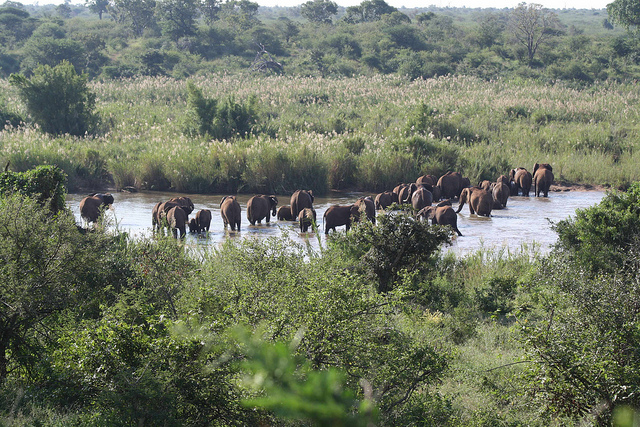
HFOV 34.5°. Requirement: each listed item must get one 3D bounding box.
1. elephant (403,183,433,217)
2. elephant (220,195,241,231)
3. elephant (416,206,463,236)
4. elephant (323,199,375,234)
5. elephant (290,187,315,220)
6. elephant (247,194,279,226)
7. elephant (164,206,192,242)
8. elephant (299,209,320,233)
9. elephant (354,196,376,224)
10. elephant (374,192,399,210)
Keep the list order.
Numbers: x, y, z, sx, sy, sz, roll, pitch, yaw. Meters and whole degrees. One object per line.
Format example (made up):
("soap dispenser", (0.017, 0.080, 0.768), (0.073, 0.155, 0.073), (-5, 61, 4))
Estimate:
("elephant", (4.477, -0.751, 46.663), (0.831, 1.153, 1.892), (1, 13, 1))
("elephant", (-3.854, 0.006, 44.896), (0.967, 1.291, 0.615), (12, 19, 40))
("elephant", (5.133, 0.294, 44.748), (2.236, 1.385, 1.085), (7, 20, 43))
("elephant", (1.319, 0.074, 43.849), (2.235, 1.431, 1.123), (-5, -1, -4))
("elephant", (-0.730, -0.701, 46.371), (0.615, 0.978, 1.712), (2, 15, 12))
("elephant", (-2.557, -0.189, 45.729), (1.385, 1.222, 0.590), (-13, 19, -40))
("elephant", (-6.038, 0.306, 44.088), (1.153, 1.338, 2.781), (-2, 15, -7))
("elephant", (-0.542, 0.311, 44.491), (0.675, 1.030, 0.755), (-1, 14, -4))
("elephant", (1.961, -0.351, 44.623), (0.543, 0.754, 1.250), (-2, 15, -8))
("elephant", (3.097, -0.622, 46.082), (0.514, 0.876, 1.425), (12, 19, 40))
